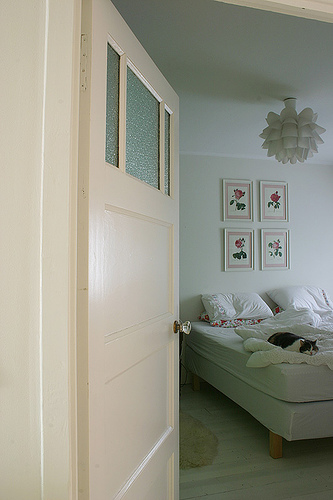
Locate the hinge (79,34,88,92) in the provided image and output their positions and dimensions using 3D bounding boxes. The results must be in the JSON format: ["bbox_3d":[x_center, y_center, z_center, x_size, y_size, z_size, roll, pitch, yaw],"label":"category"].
[{"bbox_3d":[-0.186,-0.418,0.901,0.023,0.115,0.007,-11,29,-35],"label":"hinge"}]

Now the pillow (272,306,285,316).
[{"bbox_3d":[1.177,0.629,4.259,0.088,0.105,0.117,-11,32,27],"label":"pillow"}]

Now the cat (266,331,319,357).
[{"bbox_3d":[0.793,0.553,2.514,0.093,0.137,0.267,-25,21,-25],"label":"cat"}]
